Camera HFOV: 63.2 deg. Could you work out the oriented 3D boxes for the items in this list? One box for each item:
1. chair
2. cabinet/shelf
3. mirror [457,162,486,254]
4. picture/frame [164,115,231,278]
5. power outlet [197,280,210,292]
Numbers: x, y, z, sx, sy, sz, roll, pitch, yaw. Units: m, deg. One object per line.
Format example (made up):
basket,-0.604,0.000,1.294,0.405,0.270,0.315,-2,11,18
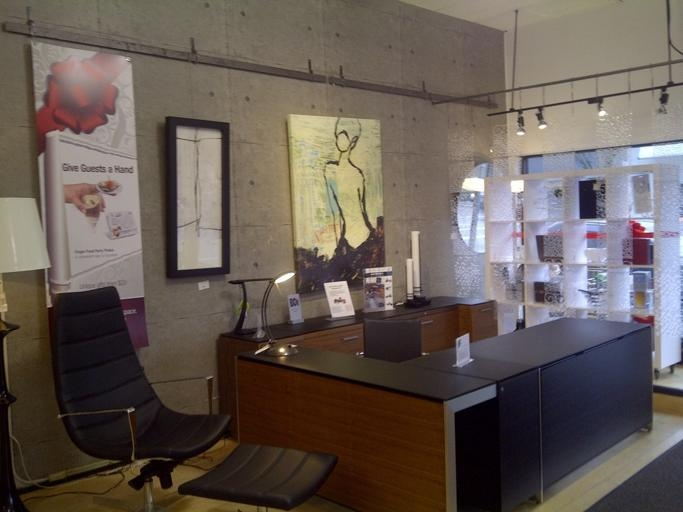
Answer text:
chair,-1.578,0.961,4.617,1.544,1.827,1.376,0,2,19
cabinet/shelf,2.611,0.131,5.854,2.468,2.222,0.666,1,3,45
mirror,1.704,-0.604,7.376,0.022,1.129,1.181,7,11,38
picture/frame,-1.315,-0.529,5.027,0.643,1.401,0.151,-6,7,-38
power outlet,-1.285,0.271,5.094,0.004,0.073,0.112,6,8,37
